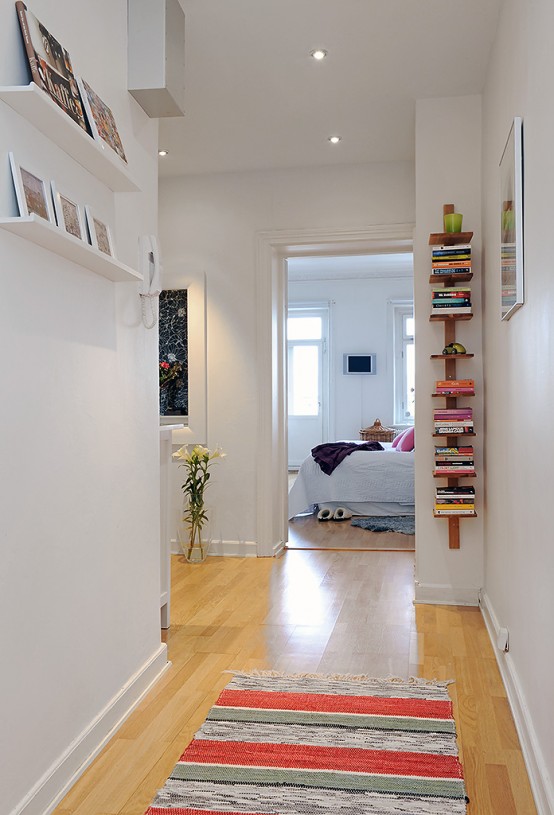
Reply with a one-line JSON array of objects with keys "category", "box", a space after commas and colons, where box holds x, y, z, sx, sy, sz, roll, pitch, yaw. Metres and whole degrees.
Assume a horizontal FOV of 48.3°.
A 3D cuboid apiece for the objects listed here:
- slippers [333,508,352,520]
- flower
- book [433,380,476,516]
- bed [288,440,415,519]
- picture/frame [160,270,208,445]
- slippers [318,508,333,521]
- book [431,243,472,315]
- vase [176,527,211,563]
[{"category": "slippers", "box": [0.654, 1.036, 6.047, 0.146, 0.114, 0.288, -3, -5, 44]}, {"category": "flower", "box": [-0.572, 0.690, 4.532, 0.355, 0.820, 0.481, 1, -4, -13]}, {"category": "book", "box": [0.954, 0.222, 3.337, 0.222, 0.746, 0.209, -1, -4, 18]}, {"category": "bed", "box": [0.779, 0.593, 6.196, 0.821, 0.438, 0.891, 0, 3, 5]}, {"category": "picture/frame", "box": [-0.684, -0.381, 4.682, 0.334, 1.313, 0.086, -1, -4, 16]}, {"category": "slippers", "box": [0.471, 1.043, 6.017, 0.173, 0.103, 0.171, 1, -4, -20]}, {"category": "book", "box": [0.944, -0.675, 3.336, 0.217, 0.370, 0.239, -1, -4, 17]}, {"category": "vase", "box": [-0.637, 1.012, 4.572, 0.185, 0.260, 0.206, 1, -5, 0]}]
